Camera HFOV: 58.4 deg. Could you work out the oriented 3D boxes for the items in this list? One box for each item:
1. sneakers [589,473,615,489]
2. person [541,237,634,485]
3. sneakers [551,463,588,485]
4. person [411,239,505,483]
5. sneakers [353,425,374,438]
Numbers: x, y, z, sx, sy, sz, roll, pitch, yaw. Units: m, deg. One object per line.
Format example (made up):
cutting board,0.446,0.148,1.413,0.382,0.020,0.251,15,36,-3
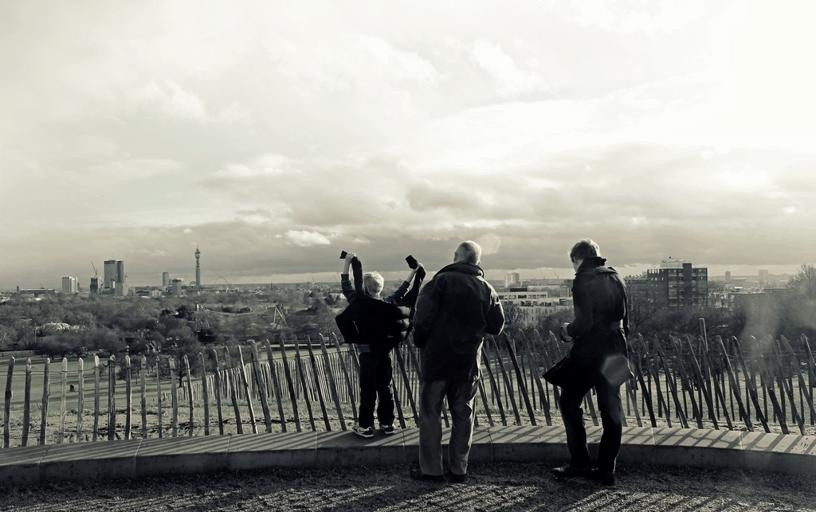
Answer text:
sneakers,2.644,3.003,9.871,0.367,0.207,0.123,-1,-6,13
person,2.522,1.437,9.953,0.994,3.289,0.401,-1,-6,11
sneakers,2.235,2.984,9.984,0.548,0.223,0.199,2,-5,7
person,0.658,1.439,10.157,1.174,3.298,0.450,0,-6,-1
sneakers,-0.636,2.544,10.606,0.128,0.129,0.307,-2,8,-37
